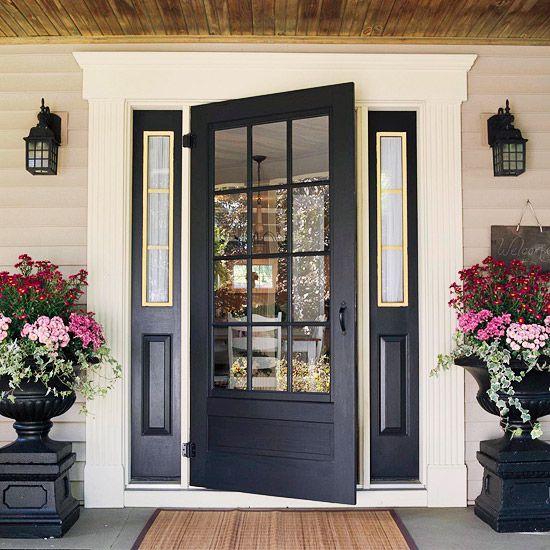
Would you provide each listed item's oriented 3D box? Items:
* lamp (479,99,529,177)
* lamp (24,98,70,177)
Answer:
[{"bbox_3d":[1.434,-0.844,4.209,0.245,0.465,0.189,-1,-1,-4],"label":"lamp"},{"bbox_3d":[-1.429,-0.860,4.202,0.230,0.485,0.201,-1,-1,-6],"label":"lamp"}]
